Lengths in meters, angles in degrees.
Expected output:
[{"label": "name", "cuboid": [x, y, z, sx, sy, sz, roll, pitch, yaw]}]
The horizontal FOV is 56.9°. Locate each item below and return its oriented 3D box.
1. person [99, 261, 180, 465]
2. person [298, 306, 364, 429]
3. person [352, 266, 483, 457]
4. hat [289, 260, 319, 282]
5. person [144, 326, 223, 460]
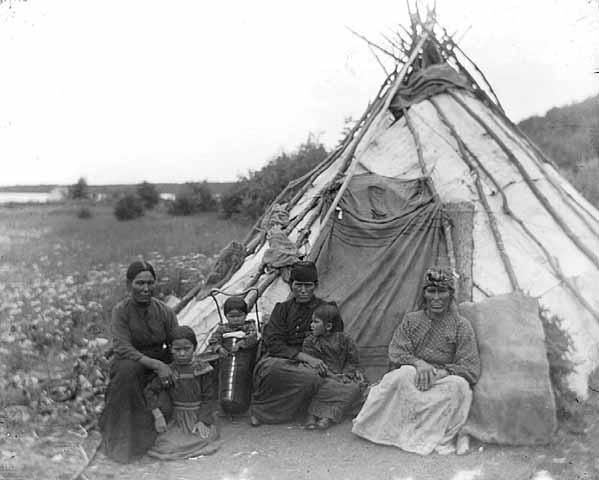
[{"label": "person", "cuboid": [-1.129, 0.942, 3.900, 0.562, 0.947, 0.625, -5, 14, -14]}, {"label": "person", "cuboid": [0.165, 0.930, 4.362, 0.554, 0.877, 0.752, 4, 0, 0]}, {"label": "person", "cuboid": [0.846, 0.821, 3.959, 0.888, 1.139, 0.747, 0, 13, 6]}, {"label": "hat", "cuboid": [0.034, 0.255, 4.478, 0.159, 0.131, 0.173, 1, -4, 0]}, {"label": "person", "cuboid": [-0.807, 1.056, 3.884, 0.514, 0.831, 0.594, -3, -3, 29]}]
